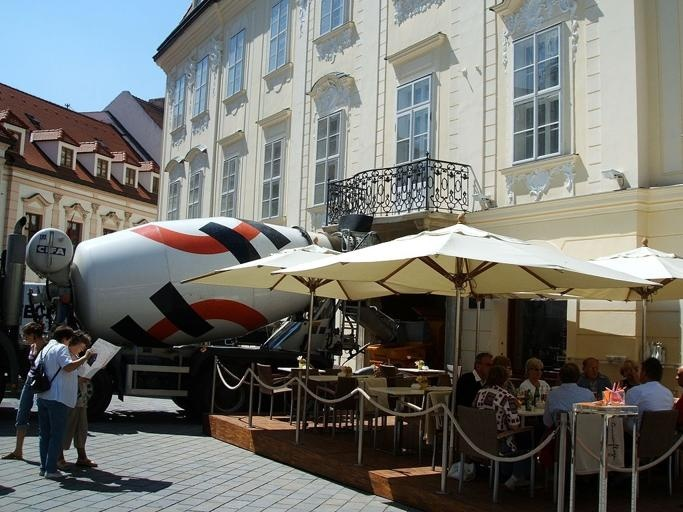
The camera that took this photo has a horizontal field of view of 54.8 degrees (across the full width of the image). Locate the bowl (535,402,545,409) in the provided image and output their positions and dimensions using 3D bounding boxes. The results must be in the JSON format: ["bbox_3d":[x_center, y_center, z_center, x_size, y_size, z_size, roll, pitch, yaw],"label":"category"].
[{"bbox_3d":[2.855,2.150,9.486,0.114,0.040,0.083,5,-5,-44],"label":"bowl"}]

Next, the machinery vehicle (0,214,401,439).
[{"bbox_3d":[-2.197,0.704,15.050,9.446,3.210,2.999,-3,-4,-24],"label":"machinery vehicle"}]

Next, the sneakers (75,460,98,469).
[{"bbox_3d":[-3.654,2.995,9.472,0.299,0.116,0.109,3,-4,-6],"label":"sneakers"}]

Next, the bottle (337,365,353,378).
[{"bbox_3d":[0.082,2.046,11.740,0.234,0.113,0.233,2,-9,0],"label":"bottle"}]

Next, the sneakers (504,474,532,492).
[{"bbox_3d":[2.225,2.864,8.381,0.425,0.184,0.133,-3,0,-27],"label":"sneakers"}]

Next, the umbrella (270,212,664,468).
[{"bbox_3d":[2.230,1.398,11.282,3.845,2.376,3.907,-4,-11,38],"label":"umbrella"}]

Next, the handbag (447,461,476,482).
[{"bbox_3d":[1.570,2.816,8.622,0.367,0.130,0.329,0,-9,6],"label":"handbag"}]

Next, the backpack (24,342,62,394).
[{"bbox_3d":[-3.873,1.598,8.831,0.309,0.471,0.499,-18,-12,37],"label":"backpack"}]

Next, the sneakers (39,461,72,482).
[{"bbox_3d":[-3.829,2.900,8.865,0.189,0.141,0.351,2,-6,40],"label":"sneakers"}]

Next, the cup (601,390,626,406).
[{"bbox_3d":[3.358,1.725,8.073,0.275,0.193,0.148,1,-8,-4],"label":"cup"}]

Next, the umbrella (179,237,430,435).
[{"bbox_3d":[-0.828,1.312,11.862,2.940,1.821,2.879,2,-2,-26],"label":"umbrella"}]
